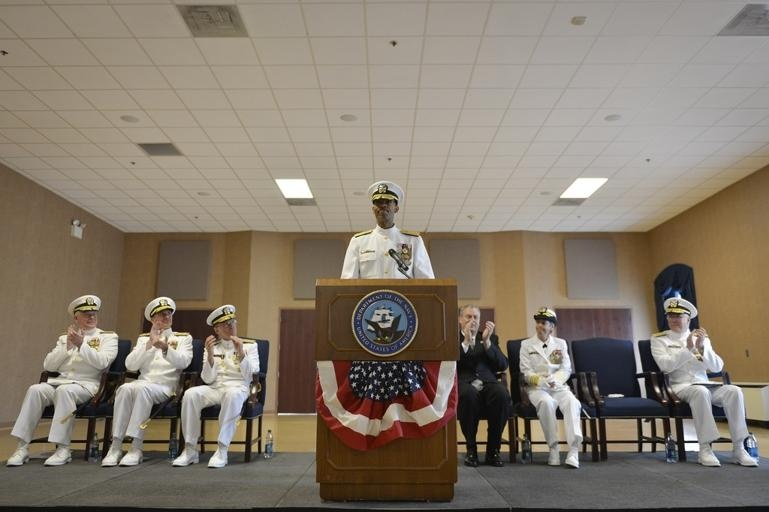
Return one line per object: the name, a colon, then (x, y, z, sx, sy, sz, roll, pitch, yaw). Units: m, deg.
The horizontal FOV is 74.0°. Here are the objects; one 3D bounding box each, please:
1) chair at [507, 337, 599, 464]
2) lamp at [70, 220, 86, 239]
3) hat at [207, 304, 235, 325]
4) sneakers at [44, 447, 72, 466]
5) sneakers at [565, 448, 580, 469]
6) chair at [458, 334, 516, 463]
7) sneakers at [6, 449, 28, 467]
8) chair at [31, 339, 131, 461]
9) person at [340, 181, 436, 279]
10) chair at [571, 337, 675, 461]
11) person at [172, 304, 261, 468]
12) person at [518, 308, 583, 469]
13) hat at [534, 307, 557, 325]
chair: (2.074, 1.777, 6.417, 1.065, 1.462, 1.132, -1, -11, -12)
lamp: (-6.797, -0.596, 11.251, 0.122, 0.379, 0.403, -2, -8, 3)
hat: (-2.121, 0.775, 6.507, 0.363, 0.155, 0.398, -6, -18, -41)
sneakers: (-3.716, 2.269, 5.760, 0.139, 0.149, 0.334, -1, -19, -1)
sneakers: (2.048, 2.205, 5.552, 0.101, 0.183, 0.302, -1, -30, 15)
chair: (1.166, 1.634, 6.011, 0.689, 1.451, 0.607, 1, -15, -1)
sneakers: (-4.152, 2.267, 5.718, 0.120, 0.138, 0.303, -1, -21, -13)
chair: (-3.727, 1.730, 6.293, 0.949, 1.289, 0.988, 1, -18, 5)
person: (0.007, -0.078, 4.843, 0.984, 1.214, 0.664, -1, -4, -2)
chair: (2.887, 1.959, 6.339, 0.894, 1.406, 1.058, -7, 19, 18)
person: (-1.966, 1.679, 6.085, 0.862, 1.478, 0.691, 4, -15, -13)
person: (2.005, 1.506, 6.159, 0.686, 1.831, 0.854, -2, -15, 9)
hat: (2.117, 0.754, 6.649, 0.327, 0.165, 0.449, -1, -28, 22)
